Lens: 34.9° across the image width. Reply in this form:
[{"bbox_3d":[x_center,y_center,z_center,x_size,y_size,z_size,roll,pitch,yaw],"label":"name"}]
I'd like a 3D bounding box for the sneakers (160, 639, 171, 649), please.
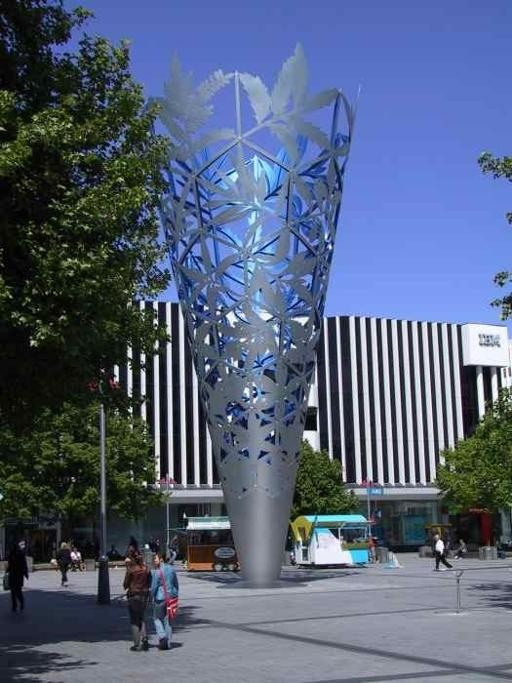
[{"bbox_3d":[-1.392,4.575,12.523,0.162,0.169,0.468,-1,-10,-3],"label":"sneakers"}]

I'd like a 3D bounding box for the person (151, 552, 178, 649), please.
[{"bbox_3d":[-1.450,4.057,12.936,0.412,1.416,1.108,0,-11,-7],"label":"person"}]

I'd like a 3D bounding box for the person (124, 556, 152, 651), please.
[{"bbox_3d":[-1.862,4.020,12.792,0.424,1.436,0.879,0,-11,-7],"label":"person"}]

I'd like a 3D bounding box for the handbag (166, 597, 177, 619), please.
[{"bbox_3d":[-1.299,4.076,12.609,0.139,0.324,0.330,-2,-11,3],"label":"handbag"}]
